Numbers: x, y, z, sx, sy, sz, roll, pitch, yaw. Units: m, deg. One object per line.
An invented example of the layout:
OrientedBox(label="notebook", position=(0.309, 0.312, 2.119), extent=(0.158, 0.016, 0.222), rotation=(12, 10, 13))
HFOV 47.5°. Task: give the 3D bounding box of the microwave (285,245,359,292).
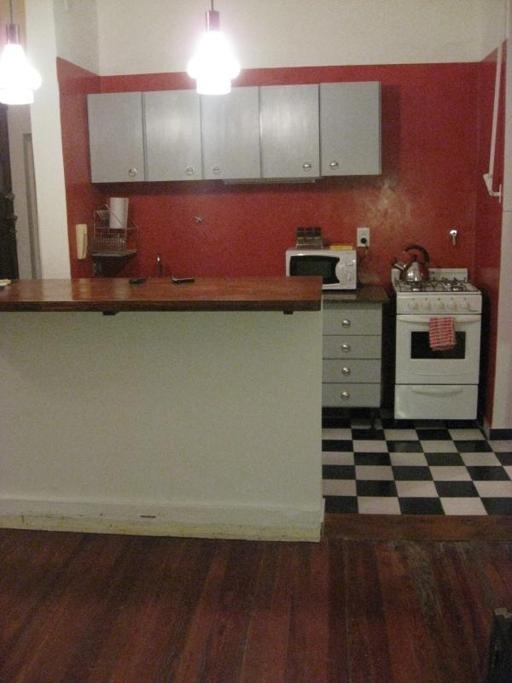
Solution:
OrientedBox(label="microwave", position=(0.446, -0.489, 3.972), extent=(0.548, 0.330, 0.328), rotation=(0, 12, 4))

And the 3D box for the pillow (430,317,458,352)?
OrientedBox(label="pillow", position=(1.151, -0.039, 3.589), extent=(0.161, 0.194, 0.060), rotation=(2, -4, 14))

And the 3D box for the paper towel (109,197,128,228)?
OrientedBox(label="paper towel", position=(-0.973, -0.905, 4.140), extent=(0.157, 0.224, 0.124), rotation=(-8, 10, -38))

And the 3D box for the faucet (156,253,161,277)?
OrientedBox(label="faucet", position=(-0.717, -0.552, 4.302), extent=(0.052, 0.157, 0.184), rotation=(-3, 8, -9))

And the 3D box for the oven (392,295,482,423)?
OrientedBox(label="oven", position=(1.193, 0.058, 3.934), extent=(0.611, 0.841, 0.642), rotation=(3, 13, 21))

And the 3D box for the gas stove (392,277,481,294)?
OrientedBox(label="gas stove", position=(1.161, -0.361, 3.823), extent=(0.494, 0.071, 0.434), rotation=(0, 8, 9))
